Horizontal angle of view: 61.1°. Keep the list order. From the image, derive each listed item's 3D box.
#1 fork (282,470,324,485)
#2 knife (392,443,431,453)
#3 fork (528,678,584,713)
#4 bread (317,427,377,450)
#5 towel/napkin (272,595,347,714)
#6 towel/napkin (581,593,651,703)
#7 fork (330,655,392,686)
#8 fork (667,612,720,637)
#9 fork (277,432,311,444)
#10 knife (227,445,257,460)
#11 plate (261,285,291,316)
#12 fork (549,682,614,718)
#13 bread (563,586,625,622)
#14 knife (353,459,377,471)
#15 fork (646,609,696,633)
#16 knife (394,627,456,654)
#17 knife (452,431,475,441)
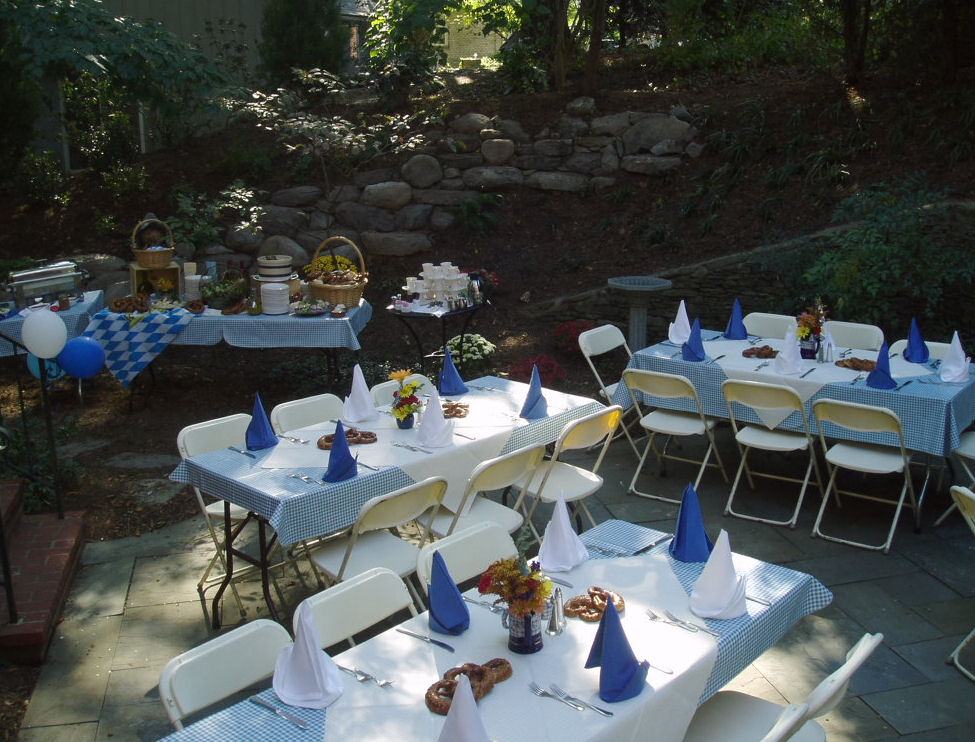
[{"bbox_3d":[-1.161,0.652,5.146,0.384,0.057,0.075,4,7,31],"label":"fork"},{"bbox_3d":[-0.501,0.519,5.551,0.257,0.017,0.078,7,20,28],"label":"knife"},{"bbox_3d":[0.285,1.379,3.499,0.074,0.041,0.304,-29,30,-32],"label":"fork"},{"bbox_3d":[-0.941,0.459,5.594,0.259,0.055,0.181,-8,14,-43],"label":"bread"},{"bbox_3d":[-0.794,1.241,3.579,0.300,0.444,0.295,2,20,-37],"label":"towel/napkin"},{"bbox_3d":[0.566,1.171,3.561,0.277,0.393,0.246,10,14,20],"label":"towel/napkin"},{"bbox_3d":[-0.564,1.335,3.658,0.290,0.036,0.046,13,35,33],"label":"fork"},{"bbox_3d":[0.985,1.187,3.846,0.202,0.026,0.032,15,47,31],"label":"fork"},{"bbox_3d":[-1.359,0.470,5.680,0.072,0.057,0.307,-11,14,-39],"label":"fork"},{"bbox_3d":[-1.665,0.526,5.519,0.365,0.047,0.073,14,24,40],"label":"knife"},{"bbox_3d":[-2.194,-0.734,8.422,0.361,0.291,0.305,1,9,-2],"label":"plate"},{"bbox_3d":[0.408,1.391,3.475,0.056,0.041,0.318,-22,24,-34],"label":"fork"},{"bbox_3d":[0.518,1.109,3.957,0.248,0.047,0.231,-1,8,29],"label":"bread"},{"bbox_3d":[-0.781,0.611,5.287,0.192,0.030,0.085,13,22,41],"label":"knife"},{"bbox_3d":[0.870,1.175,3.880,0.248,0.036,0.064,12,49,15],"label":"fork"},{"bbox_3d":[-0.280,1.248,3.799,0.298,0.029,0.030,14,48,32],"label":"knife"},{"bbox_3d":[-0.160,0.458,5.748,0.178,0.017,0.089,11,20,38],"label":"knife"}]
